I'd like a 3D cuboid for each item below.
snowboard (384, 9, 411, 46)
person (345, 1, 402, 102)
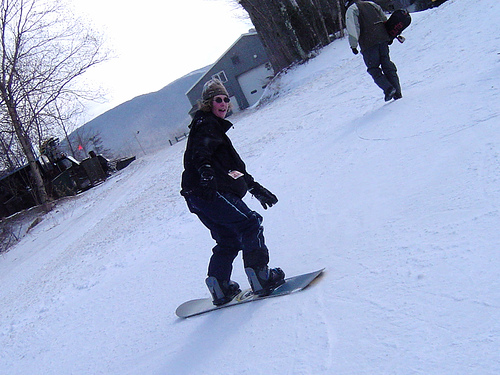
[{"bbox_3d":[2.391,-2.551,6.560,0.136,0.253,0.526,-55,-16,-23],"label":"snowboard"},{"bbox_3d":[1.989,-2.182,6.544,0.578,1.639,0.984,-18,16,32],"label":"person"}]
